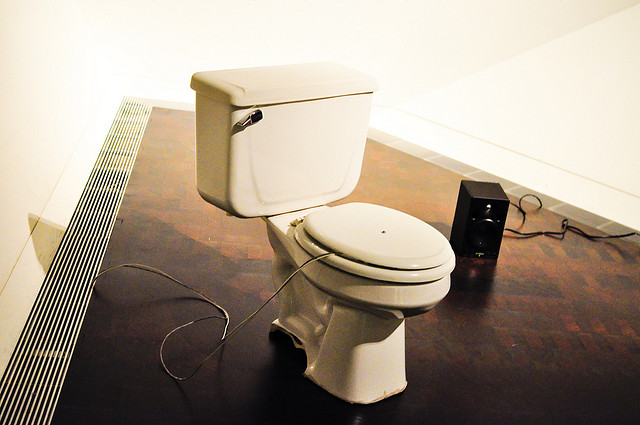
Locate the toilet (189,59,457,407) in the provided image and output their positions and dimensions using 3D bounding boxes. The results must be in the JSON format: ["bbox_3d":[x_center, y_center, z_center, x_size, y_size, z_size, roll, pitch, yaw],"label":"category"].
[{"bbox_3d":[0.045,0.070,1.766,0.668,1.067,0.948,-14,26,-37],"label":"toilet"}]

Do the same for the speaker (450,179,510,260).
[{"bbox_3d":[0.769,0.047,2.481,0.251,0.415,0.260,5,29,2],"label":"speaker"}]
